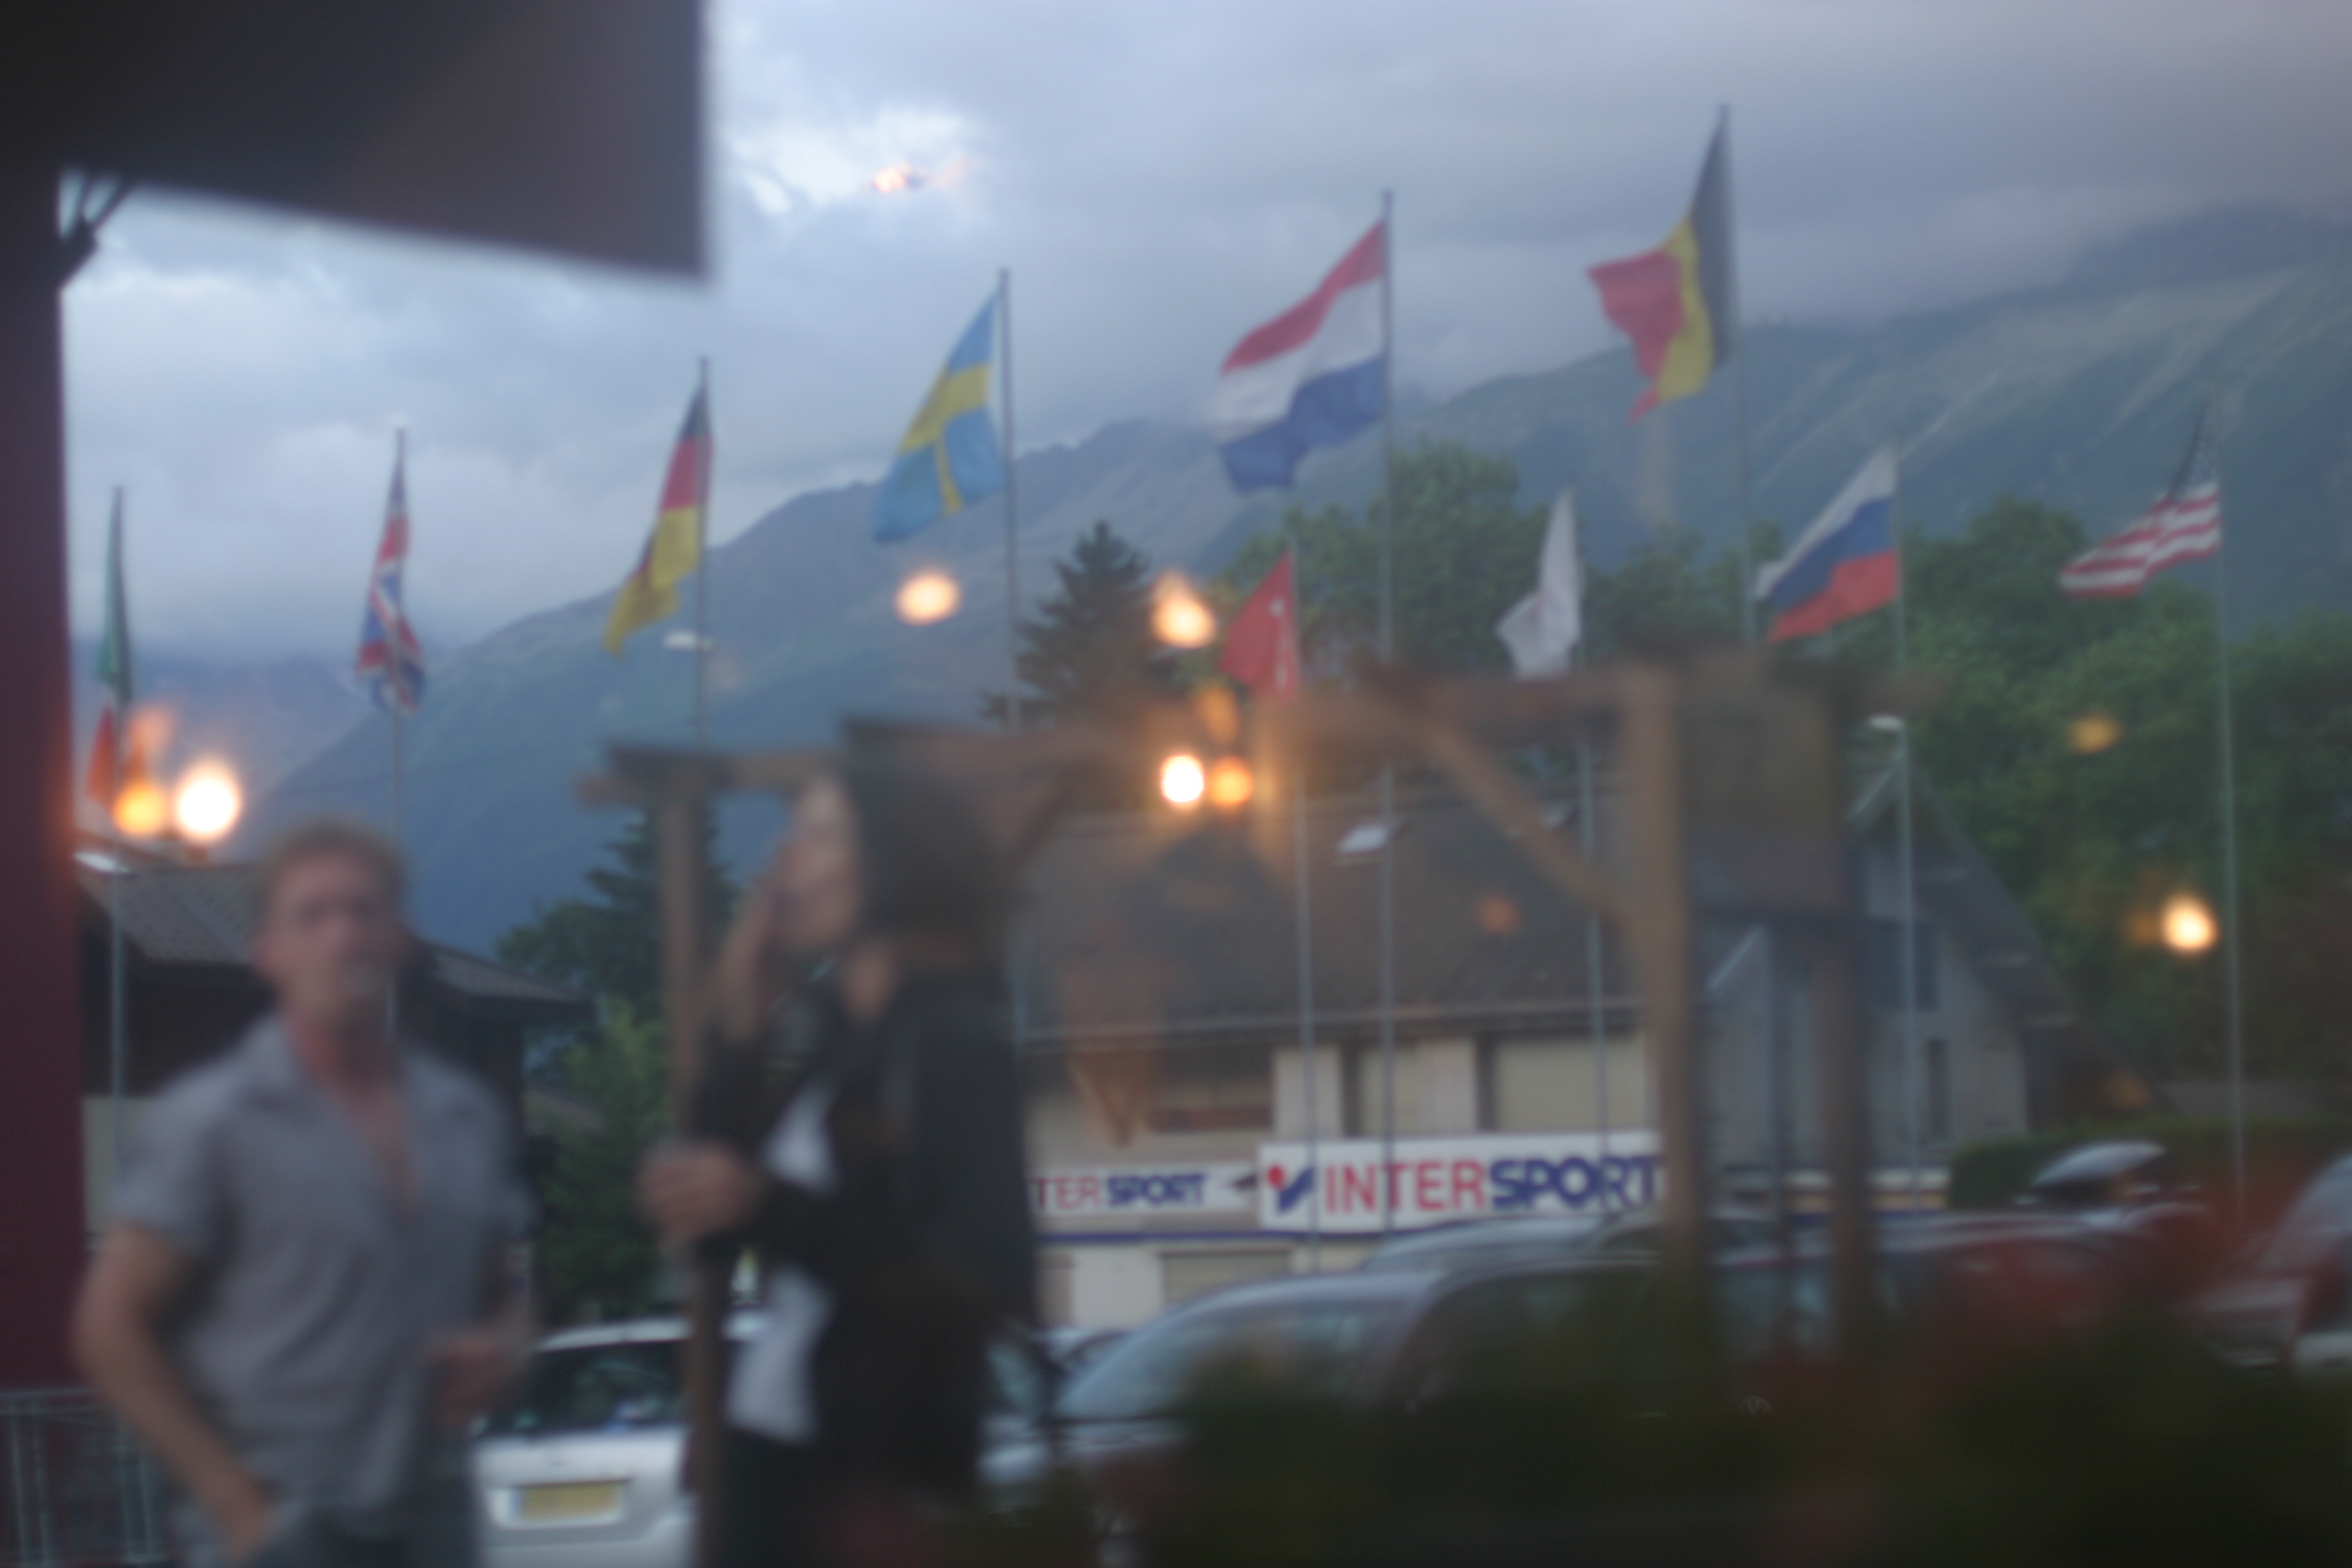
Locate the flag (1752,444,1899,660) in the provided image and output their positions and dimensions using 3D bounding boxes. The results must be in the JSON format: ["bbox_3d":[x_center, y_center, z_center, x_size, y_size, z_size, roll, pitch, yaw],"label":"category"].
[{"bbox_3d":[1.641,-0.580,9.681,0.458,0.504,0.054,-9,15,-13],"label":"flag"}]
